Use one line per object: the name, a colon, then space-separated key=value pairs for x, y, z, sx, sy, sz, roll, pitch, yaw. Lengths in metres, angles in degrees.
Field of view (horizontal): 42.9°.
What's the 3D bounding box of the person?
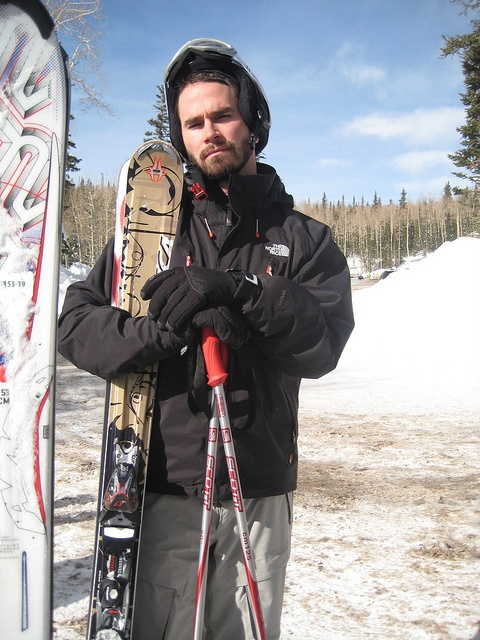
person: x=-0.085 y=0.019 z=1.944 sx=0.938 sy=1.898 sz=0.580 roll=-1 pitch=5 yaw=-18
